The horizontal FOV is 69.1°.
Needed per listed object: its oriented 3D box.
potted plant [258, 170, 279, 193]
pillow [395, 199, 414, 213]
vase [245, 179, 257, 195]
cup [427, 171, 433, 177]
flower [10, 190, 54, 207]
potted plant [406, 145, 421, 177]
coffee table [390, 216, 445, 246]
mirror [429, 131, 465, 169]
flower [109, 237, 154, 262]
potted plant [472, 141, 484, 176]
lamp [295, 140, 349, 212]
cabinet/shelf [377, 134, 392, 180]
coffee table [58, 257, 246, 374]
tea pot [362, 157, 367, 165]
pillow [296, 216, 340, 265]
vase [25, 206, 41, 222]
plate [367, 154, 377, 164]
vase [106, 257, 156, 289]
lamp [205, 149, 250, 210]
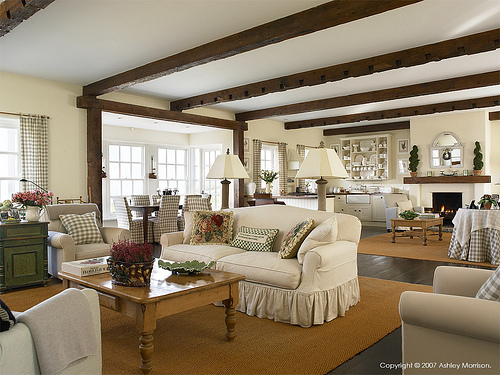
[{"bbox_3d":[0.694,-0.136,10.464,0.675,0.711,0.765,1,1,35],"label":"potted plant"},{"bbox_3d":[3.652,0.441,8.642,0.419,0.331,0.117,-2,-19,-27],"label":"pillow"},{"bbox_3d":[0.078,0.025,9.946,0.347,0.333,0.329,0,-4,2],"label":"vase"},{"bbox_3d":[5.090,-0.390,10.206,0.147,0.151,0.119,0,3,14],"label":"cup"},{"bbox_3d":[-2.926,0.153,4.967,0.365,0.137,0.341,2,-4,-6],"label":"flower"},{"bbox_3d":[4.702,-0.756,10.357,0.280,0.903,0.200,1,3,23],"label":"potted plant"},{"bbox_3d":[3.554,0.894,7.818,0.871,0.490,1.143,-2,-2,35],"label":"coffee table"},{"bbox_3d":[5.444,-1.031,9.963,1.131,1.234,0.140,5,10,38],"label":"mirror"},{"bbox_3d":[-0.976,0.496,2.997,0.260,0.119,0.214,-1,-3,27],"label":"flower"},{"bbox_3d":[6.023,-0.765,9.559,0.235,0.866,0.296,1,3,30],"label":"potted plant"},{"bbox_3d":[0.849,-0.100,4.168,0.550,0.748,0.770,1,3,25],"label":"lamp"},{"bbox_3d":[4.290,-0.958,11.548,0.411,1.391,0.300,1,3,27],"label":"cabinet/shelf"},{"bbox_3d":[-0.645,0.846,3.036,1.140,0.407,0.893,-2,-4,43],"label":"coffee table"},{"bbox_3d":[3.736,-0.857,11.872,0.138,0.258,0.117,0,3,15],"label":"tea pot"},{"bbox_3d":[0.660,0.475,3.770,0.429,0.483,0.716,9,0,14],"label":"pillow"},{"bbox_3d":[-2.936,0.346,4.902,0.183,0.204,0.253,-2,2,-24],"label":"vase"},{"bbox_3d":[3.970,-0.915,11.800,0.185,0.356,0.304,-2,3,-32],"label":"plate"},{"bbox_3d":[-0.987,0.681,2.946,0.287,0.120,0.244,-1,-3,28],"label":"vase"},{"bbox_3d":[-0.319,-0.122,5.418,0.563,0.879,0.630,0,3,13],"label":"lamp"}]
